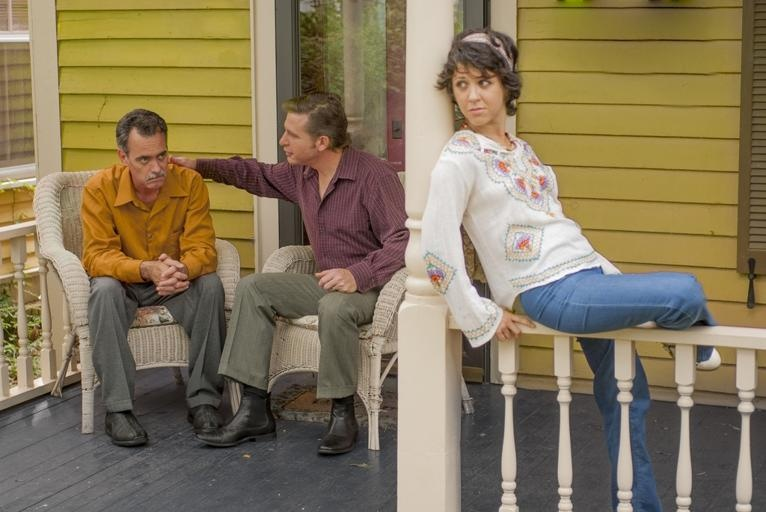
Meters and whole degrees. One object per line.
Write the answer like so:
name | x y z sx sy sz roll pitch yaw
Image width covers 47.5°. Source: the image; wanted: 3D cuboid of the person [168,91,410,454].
person | -0.446 0.065 4.989 1.176 1.945 0.853 -2 11 1

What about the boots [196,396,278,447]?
boots | -0.802 0.943 4.968 0.500 0.337 0.195 0 1 -21

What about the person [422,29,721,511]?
person | 0.696 0.128 3.543 1.022 2.064 0.428 0 11 10
